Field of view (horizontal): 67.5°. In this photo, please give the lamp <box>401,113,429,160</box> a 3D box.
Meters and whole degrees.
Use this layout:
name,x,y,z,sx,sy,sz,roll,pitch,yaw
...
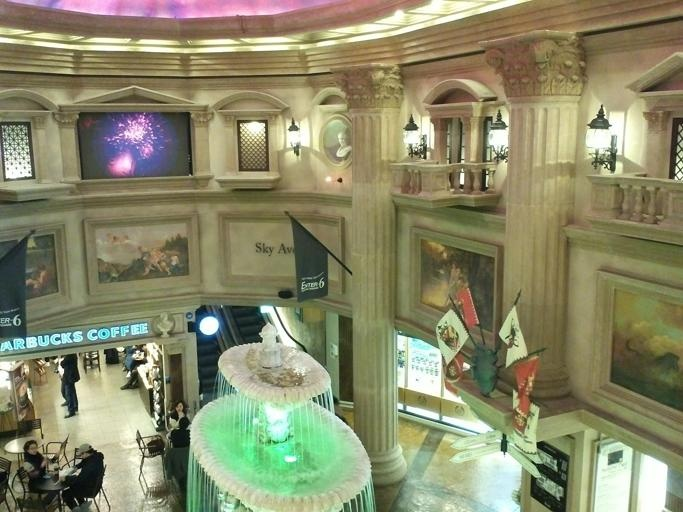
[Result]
name,x,y,z,sx,sy,sz,roll,pitch,yaw
lamp,1.213,-1.938,8.354,0.300,0.694,0.702,3,13,18

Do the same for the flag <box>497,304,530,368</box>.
name,x,y,z,sx,sy,sz,roll,pitch,yaw
flag,2.080,1.008,6.211,0.322,0.933,0.630,3,13,21

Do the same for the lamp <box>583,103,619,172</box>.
name,x,y,z,sx,sy,sz,roll,pitch,yaw
lamp,2.887,-1.298,5.691,0.314,0.745,0.543,6,14,29

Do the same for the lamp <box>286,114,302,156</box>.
name,x,y,z,sx,sy,sz,roll,pitch,yaw
lamp,-0.969,-2.393,10.369,0.265,0.753,0.542,-2,12,-4

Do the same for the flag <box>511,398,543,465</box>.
name,x,y,z,sx,sy,sz,roll,pitch,yaw
flag,2.129,1.996,5.930,0.311,0.795,0.531,3,13,19

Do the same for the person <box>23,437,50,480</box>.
name,x,y,z,sx,sy,sz,roll,pitch,yaw
person,-5.333,3.491,8.876,0.340,0.502,0.714,-10,15,-37

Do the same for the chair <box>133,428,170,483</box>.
name,x,y,z,sx,sy,sz,roll,pitch,yaw
chair,-3.988,3.876,10.667,0.575,0.880,1.451,-6,13,-21
